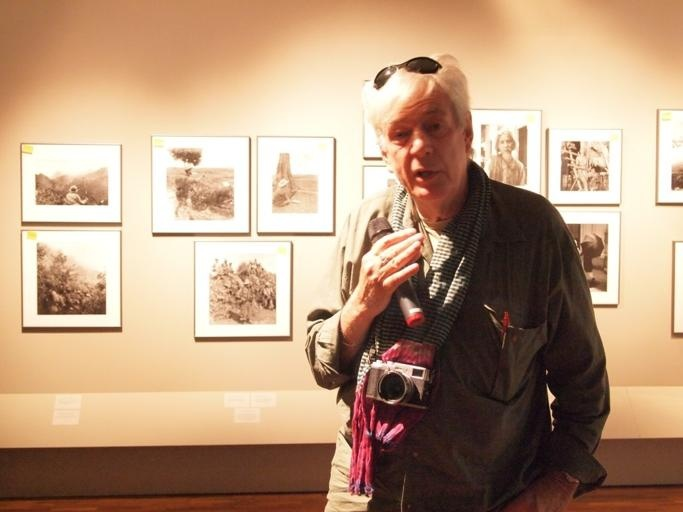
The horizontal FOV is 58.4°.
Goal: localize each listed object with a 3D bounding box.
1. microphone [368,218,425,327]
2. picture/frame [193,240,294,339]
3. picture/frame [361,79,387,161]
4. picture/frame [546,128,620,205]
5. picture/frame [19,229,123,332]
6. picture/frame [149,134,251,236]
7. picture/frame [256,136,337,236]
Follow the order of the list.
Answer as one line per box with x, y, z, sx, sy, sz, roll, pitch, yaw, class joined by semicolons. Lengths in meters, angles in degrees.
0.262;0.115;2.826;0.167;0.580;0.142;-16;-28;-9;microphone
-0.730;0.241;4.430;0.702;0.713;0.026;0;2;0;picture/frame
0.227;-0.942;4.403;0.199;0.484;0.033;-8;12;-37;picture/frame
1.730;-0.619;4.397;0.684;0.697;0.053;0;0;1;picture/frame
-1.988;0.171;4.440;0.730;0.739;0.024;-1;3;1;picture/frame
-1.005;-0.501;4.417;0.698;0.675;0.055;0;2;1;picture/frame
-0.336;-0.517;4.419;0.686;0.848;0.067;1;0;-5;picture/frame
